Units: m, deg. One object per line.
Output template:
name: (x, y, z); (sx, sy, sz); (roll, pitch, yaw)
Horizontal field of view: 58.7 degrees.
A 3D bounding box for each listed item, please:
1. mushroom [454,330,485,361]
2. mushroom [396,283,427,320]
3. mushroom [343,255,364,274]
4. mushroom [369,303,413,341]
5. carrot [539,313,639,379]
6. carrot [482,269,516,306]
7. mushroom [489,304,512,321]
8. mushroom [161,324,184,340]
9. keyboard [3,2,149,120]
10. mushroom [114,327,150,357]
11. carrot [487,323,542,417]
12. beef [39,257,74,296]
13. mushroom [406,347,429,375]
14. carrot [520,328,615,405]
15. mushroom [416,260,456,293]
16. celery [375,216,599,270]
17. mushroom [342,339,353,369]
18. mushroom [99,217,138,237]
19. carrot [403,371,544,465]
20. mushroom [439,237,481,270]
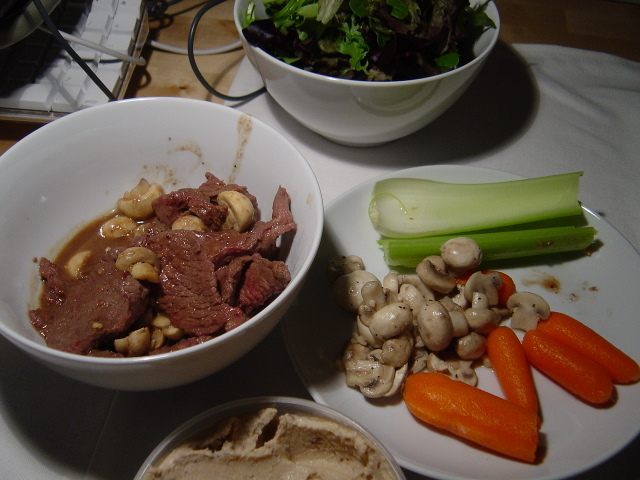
mushroom: (0.372, 0.264, 1.417); (0.061, 0.037, 0.067); (12, 78, 8)
mushroom: (0.247, 0.162, 1.478); (0.060, 0.034, 0.089); (-1, 64, -6)
mushroom: (0.088, 0.065, 1.532); (0.043, 0.026, 0.046); (6, 52, 15)
mushroom: (0.171, 0.197, 1.417); (0.100, 0.055, 0.075); (-31, 95, 4)
carrot: (0.666, 0.261, 1.436); (0.109, 0.079, 0.235); (-44, 80, 3)
carrot: (0.497, 0.126, 1.557); (0.086, 0.048, 0.097); (-7, 64, 7)
mushroom: (0.472, 0.187, 1.498); (0.046, 0.017, 0.049); (1, 34, -10)
mushroom: (-0.355, 0.223, 1.371); (0.036, 0.024, 0.039); (22, 42, 1)
keyboard: (-0.735, -0.521, 1.825); (0.317, 0.084, 0.509); (3, 67, 17)
mushroom: (-0.441, 0.246, 1.351); (0.071, 0.062, 0.052); (-33, 59, 21)
carrot: (0.475, 0.315, 1.448); (0.101, 0.089, 0.257); (-12, 33, 13)
beef: (-0.651, 0.090, 1.413); (0.023, 0.064, 0.100); (-40, 86, 25)
mushroom: (0.242, 0.302, 1.425); (0.020, 0.053, 0.058); (37, 60, -13)
carrot: (0.603, 0.315, 1.437); (0.238, 0.106, 0.104); (37, 68, 25)
mushroom: (0.319, 0.089, 1.520); (0.122, 0.058, 0.120); (1, 29, 4)
celery: (0.466, -0.142, 1.796); (0.641, 0.145, 0.462); (-1, 26, 1)
mushroom: (0.069, 0.282, 1.435); (0.032, 0.016, 0.047); (9, 71, -15)
mushroom: (-0.532, -0.033, 1.507); (0.054, 0.024, 0.068); (1, 24, 10)
carrot: (0.353, 0.425, 1.396); (0.325, 0.116, 0.162); (23, 51, 12)
mushroom: (0.370, 0.035, 1.503); (0.084, 0.051, 0.081); (-11, 63, -9)
